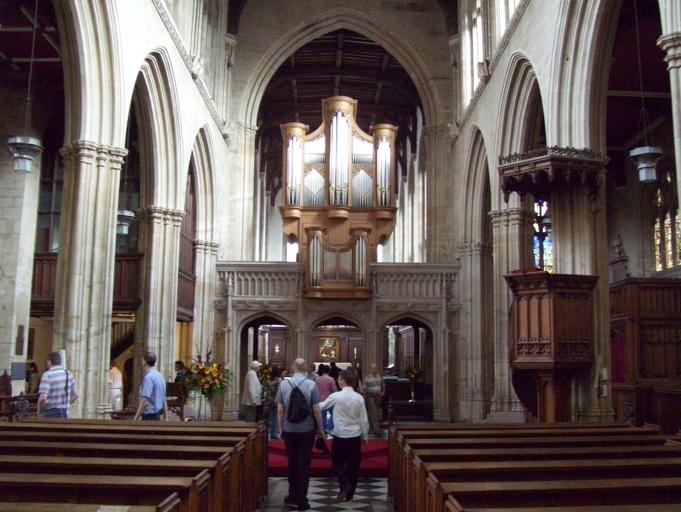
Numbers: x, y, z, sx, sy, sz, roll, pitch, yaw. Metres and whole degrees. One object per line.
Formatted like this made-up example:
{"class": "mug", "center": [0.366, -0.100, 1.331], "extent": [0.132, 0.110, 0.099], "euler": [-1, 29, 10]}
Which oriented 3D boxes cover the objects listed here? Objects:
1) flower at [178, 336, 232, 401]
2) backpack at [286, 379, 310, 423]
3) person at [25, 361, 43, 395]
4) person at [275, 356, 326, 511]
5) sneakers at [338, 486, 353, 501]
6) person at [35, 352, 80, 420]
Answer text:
{"class": "flower", "center": [-3.005, 2.589, 15.759], "extent": [0.962, 1.026, 1.328], "euler": [3, -10, -15]}
{"class": "backpack", "center": [-0.651, 2.059, 10.187], "extent": [0.421, 0.520, 0.274], "euler": [31, -23, -33]}
{"class": "person", "center": [-8.375, 3.389, 19.687], "extent": [0.302, 1.008, 0.282], "euler": [11, 12, 2]}
{"class": "person", "center": [-0.577, 2.522, 10.318], "extent": [0.657, 2.101, 0.629], "euler": [1, -9, -5]}
{"class": "sneakers", "center": [0.086, 3.560, 10.794], "extent": [0.110, 0.194, 0.275], "euler": [9, -46, -13]}
{"class": "person", "center": [-4.361, 2.364, 11.315], "extent": [0.577, 1.775, 0.388], "euler": [-2, 14, -23]}
